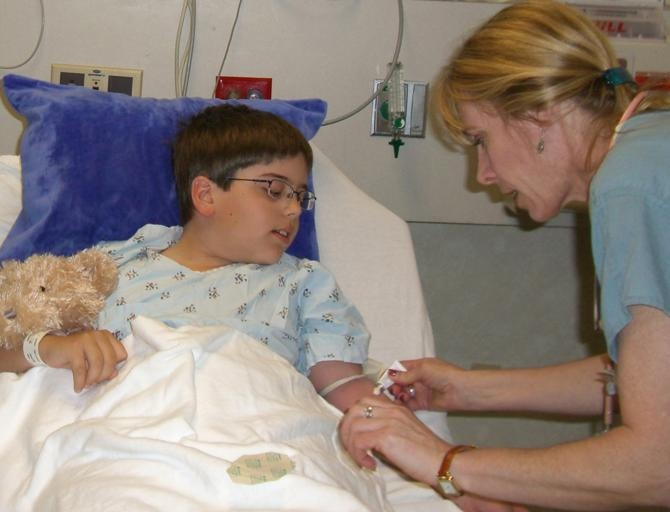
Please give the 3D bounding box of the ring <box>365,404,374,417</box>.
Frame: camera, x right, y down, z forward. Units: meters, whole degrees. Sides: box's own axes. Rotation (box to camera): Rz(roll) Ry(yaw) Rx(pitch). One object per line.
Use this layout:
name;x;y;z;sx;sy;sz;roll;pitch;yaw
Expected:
ring;0.080;0.352;1.498;0.017;0.034;0.018;0;5;0

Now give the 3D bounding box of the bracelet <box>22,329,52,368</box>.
bracelet;-0.703;0.215;1.536;0.062;0.093;0.082;-4;-5;26
